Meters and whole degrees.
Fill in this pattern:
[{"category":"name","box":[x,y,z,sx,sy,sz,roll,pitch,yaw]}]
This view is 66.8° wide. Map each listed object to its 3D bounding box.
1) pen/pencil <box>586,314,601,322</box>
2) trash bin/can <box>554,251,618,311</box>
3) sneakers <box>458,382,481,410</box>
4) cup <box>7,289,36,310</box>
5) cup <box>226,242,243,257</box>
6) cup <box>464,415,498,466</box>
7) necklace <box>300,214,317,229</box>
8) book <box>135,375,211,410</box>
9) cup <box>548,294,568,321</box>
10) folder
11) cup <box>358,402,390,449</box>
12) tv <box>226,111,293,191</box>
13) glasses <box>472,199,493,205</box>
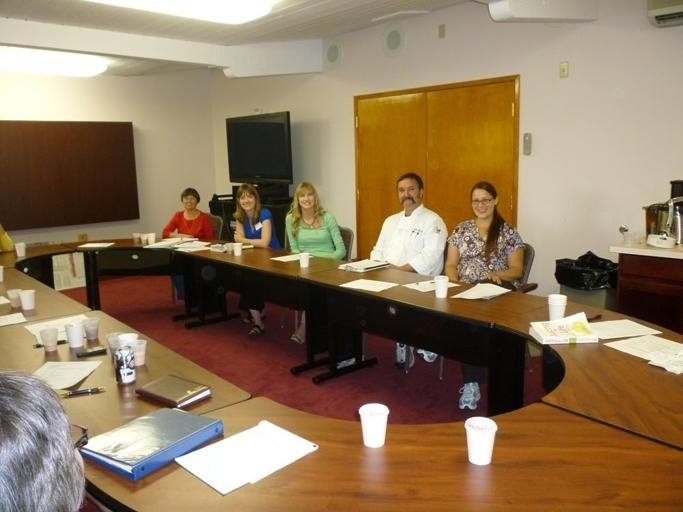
[{"category":"pen/pencil","box":[1.294,0.319,2.671,0.062,0.011,0.011,-14,39,-30]},{"category":"trash bin/can","box":[1.974,0.178,4.324,0.379,0.519,0.500,-7,12,-23]},{"category":"sneakers","box":[0.822,0.900,3.322,0.096,0.110,0.229,-3,-2,19]},{"category":"cup","box":[-1.947,0.262,3.188,0.135,0.109,0.169,-1,-5,-3]},{"category":"cup","box":[-0.947,-0.061,4.573,0.104,0.121,0.162,-2,-5,-5]},{"category":"cup","box":[0.432,0.583,1.673,0.118,0.117,0.122,-1,3,0]},{"category":"necklace","box":[-0.292,-0.314,4.692,0.122,0.128,0.032,-2,4,7]},{"category":"book","box":[-0.661,0.535,2.059,0.142,0.031,0.149,11,14,31]},{"category":"cup","box":[1.072,0.259,2.640,0.119,0.150,0.126,1,-1,0]},{"category":"folder","box":[-0.644,0.616,1.752,0.226,0.050,0.235,7,12,32]},{"category":"cup","box":[0.107,0.571,1.786,0.118,0.116,0.124,-1,3,0]},{"category":"tv","box":[-1.092,-1.457,7.133,1.333,1.029,0.135,5,12,42]},{"category":"glasses","box":[1.035,-0.397,3.823,0.133,0.043,0.045,2,11,15]}]
